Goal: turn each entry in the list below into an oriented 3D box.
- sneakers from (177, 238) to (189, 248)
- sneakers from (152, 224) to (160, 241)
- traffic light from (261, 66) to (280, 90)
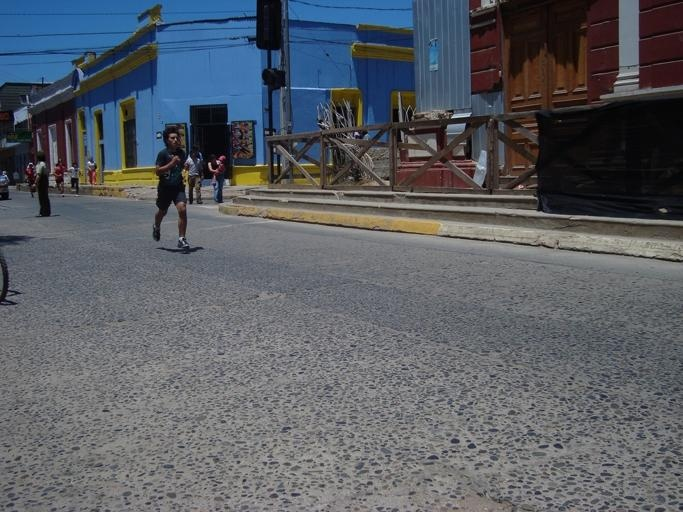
[{"bbox_3d":[-2.492,-0.223,9.619,0.158,0.186,0.236,-5,12,-13],"label":"sneakers"},{"bbox_3d":[-3.100,-0.429,10.225,0.139,0.177,0.395,-1,40,-21],"label":"sneakers"},{"bbox_3d":[-1.747,-4.530,15.249,0.429,0.486,0.614,-8,13,-28],"label":"traffic light"}]
